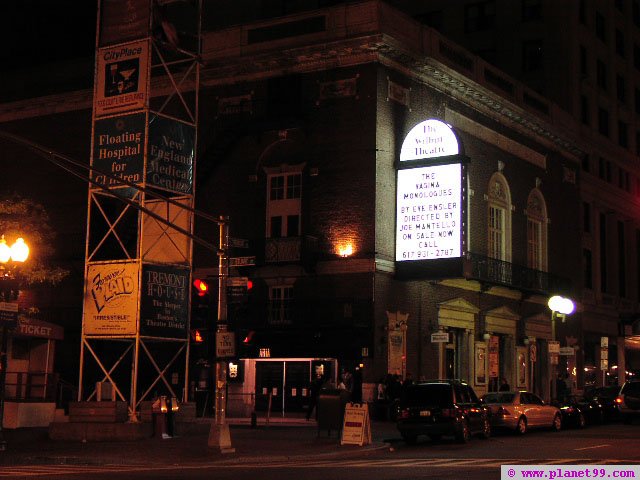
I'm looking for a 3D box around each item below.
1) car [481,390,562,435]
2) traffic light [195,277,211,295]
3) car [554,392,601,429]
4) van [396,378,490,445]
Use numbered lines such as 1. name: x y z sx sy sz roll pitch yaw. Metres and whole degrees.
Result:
1. car: 8.948 7.752 45.948 1.991 1.851 7.054 -8 -17 34
2. traffic light: -4.018 1.552 35.104 0.546 0.590 0.308 6 -14 -20
3. car: 12.223 8.161 49.570 1.415 1.056 3.358 -3 -4 28
4. van: 4.779 6.713 40.990 2.633 2.687 3.024 -7 -11 24
